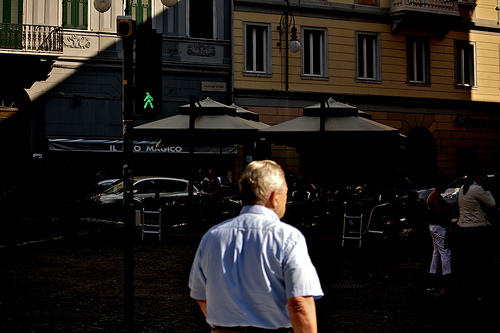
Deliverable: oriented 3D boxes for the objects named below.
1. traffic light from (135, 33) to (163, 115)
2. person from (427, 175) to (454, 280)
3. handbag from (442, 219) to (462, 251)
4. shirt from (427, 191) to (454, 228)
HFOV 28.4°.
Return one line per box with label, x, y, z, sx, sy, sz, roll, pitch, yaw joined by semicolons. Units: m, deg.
traffic light;-2.775;-2.623;27.506;0.718;2.299;0.337;1;2;-11
person;6.187;1.948;31.420;1.079;3.331;1.125;-3;3;0
handbag;6.238;2.111;30.655;0.235;0.806;0.889;8;13;-4
shirt;5.965;1.351;31.607;1.048;1.040;0.776;1;-4;-1
